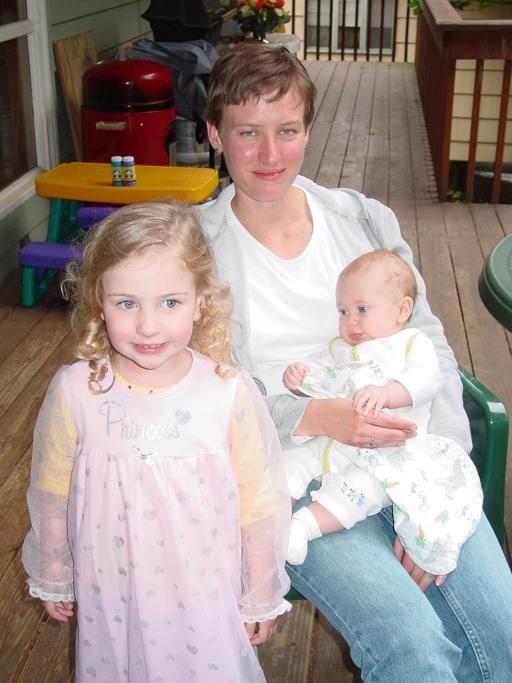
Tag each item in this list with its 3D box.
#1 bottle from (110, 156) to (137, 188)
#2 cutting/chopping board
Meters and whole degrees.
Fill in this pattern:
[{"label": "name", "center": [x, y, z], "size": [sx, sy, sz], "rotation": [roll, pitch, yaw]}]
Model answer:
[{"label": "bottle", "center": [-0.818, -1.050, 3.592], "size": [0.142, 0.163, 0.134], "rotation": [-4, 28, -12]}, {"label": "cutting/chopping board", "center": [-1.422, -1.979, 4.702], "size": [0.293, 0.933, 0.707], "rotation": [-5, 28, -13]}]
